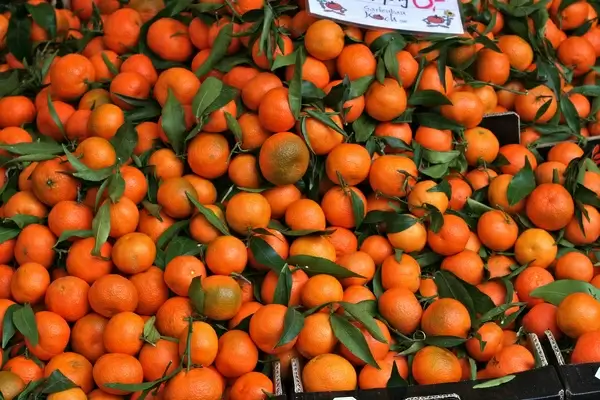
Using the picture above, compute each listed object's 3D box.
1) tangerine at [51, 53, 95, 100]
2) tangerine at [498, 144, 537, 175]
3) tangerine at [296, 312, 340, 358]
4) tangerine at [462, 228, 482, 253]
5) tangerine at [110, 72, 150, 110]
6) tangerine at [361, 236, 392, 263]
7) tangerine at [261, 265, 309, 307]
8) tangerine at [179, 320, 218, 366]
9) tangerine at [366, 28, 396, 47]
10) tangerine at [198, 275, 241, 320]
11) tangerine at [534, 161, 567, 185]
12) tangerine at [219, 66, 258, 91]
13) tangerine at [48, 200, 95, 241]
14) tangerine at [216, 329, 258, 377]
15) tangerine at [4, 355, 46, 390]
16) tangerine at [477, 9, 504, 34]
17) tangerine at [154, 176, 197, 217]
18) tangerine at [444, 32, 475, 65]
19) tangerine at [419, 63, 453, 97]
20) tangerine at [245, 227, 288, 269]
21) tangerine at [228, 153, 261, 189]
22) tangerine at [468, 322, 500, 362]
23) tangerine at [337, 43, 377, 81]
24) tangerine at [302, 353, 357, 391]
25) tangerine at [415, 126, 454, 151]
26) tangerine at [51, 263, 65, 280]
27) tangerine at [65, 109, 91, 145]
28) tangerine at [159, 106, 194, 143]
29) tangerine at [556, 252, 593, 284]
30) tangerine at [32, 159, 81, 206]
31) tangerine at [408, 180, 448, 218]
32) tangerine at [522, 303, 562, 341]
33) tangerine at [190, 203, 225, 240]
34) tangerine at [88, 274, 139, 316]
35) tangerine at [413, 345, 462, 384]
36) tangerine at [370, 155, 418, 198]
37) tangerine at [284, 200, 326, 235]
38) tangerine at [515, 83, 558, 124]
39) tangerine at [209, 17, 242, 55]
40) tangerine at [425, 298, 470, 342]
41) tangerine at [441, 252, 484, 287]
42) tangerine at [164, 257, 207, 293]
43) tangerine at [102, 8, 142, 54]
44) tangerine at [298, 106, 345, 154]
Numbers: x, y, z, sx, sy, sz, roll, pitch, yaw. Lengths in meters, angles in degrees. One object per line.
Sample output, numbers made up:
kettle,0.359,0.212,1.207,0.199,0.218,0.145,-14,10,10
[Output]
tangerine,-1.074,-0.576,2.381,0.156,0.143,0.140,-21,30,22
tangerine,1.028,-0.216,2.418,0.129,0.174,0.142,12,20,1
tangerine,0.060,0.511,1.937,0.141,0.182,0.141,-6,18,-10
tangerine,0.755,0.172,2.213,0.079,0.105,0.084,3,14,19
tangerine,-0.784,-0.505,2.316,0.174,0.126,0.134,-19,55,-19
tangerine,0.330,0.207,2.131,0.118,0.110,0.112,2,50,10
tangerine,-0.068,0.349,2.020,0.155,0.194,0.169,0,72,-6
tangerine,-0.359,0.533,1.937,0.143,0.154,0.195,-11,78,12
tangerine,0.360,-0.739,2.274,0.085,0.094,0.109,7,-2,4
tangerine,-0.304,0.382,1.955,0.150,0.137,0.143,-3,51,-8
tangerine,1.143,-0.128,2.315,0.107,0.114,0.111,-3,20,-5
tangerine,-0.272,-0.549,2.247,0.135,0.124,0.118,-9,16,0
tangerine,-0.934,0.055,2.085,0.158,0.152,0.164,-1,44,-43
tangerine,-0.241,0.560,1.935,0.150,0.166,0.149,-13,22,-12
tangerine,-1.034,0.631,1.888,0.095,0.104,0.099,9,2,3
tangerine,0.979,-0.909,2.589,0.099,0.128,0.107,-6,35,13
tangerine,-0.502,-0.014,2.078,0.152,0.164,0.149,5,14,3
tangerine,0.739,-0.726,2.429,0.108,0.132,0.107,-8,28,-34
tangerine,0.617,-0.546,2.385,0.144,0.182,0.143,-4,4,-34
tangerine,-0.143,0.223,2.138,0.198,0.205,0.203,4,9,-6
tangerine,-0.263,-0.127,2.180,0.112,0.119,0.140,4,70,32
tangerine,0.740,0.556,1.981,0.139,0.142,0.151,0,81,-2
tangerine,0.257,-0.598,2.231,0.152,0.105,0.163,-27,58,-24
tangerine,0.111,0.630,1.821,0.138,0.143,0.140,1,45,-16
tangerine,0.612,-0.275,2.281,0.135,0.123,0.117,7,6,-1
tangerine,-1.009,0.295,2.116,0.054,0.057,0.063,-32,24,-22
tangerine,-0.998,-0.323,2.264,0.108,0.126,0.106,50,36,13
tangerine,-0.518,-0.352,2.239,0.146,0.189,0.154,3,16,-1
tangerine,1.166,0.280,2.148,0.120,0.124,0.131,14,59,41
tangerine,-1.011,-0.056,2.129,0.171,0.203,0.182,-6,84,-16
tangerine,0.539,-0.005,2.171,0.140,0.153,0.160,11,73,-6
tangerine,0.959,0.481,1.994,0.135,0.072,0.135,-3,52,-8
tangerine,-0.417,0.106,2.138,0.141,0.163,0.154,13,10,-16
tangerine,-0.731,0.375,1.957,0.188,0.121,0.130,17,51,8
tangerine,0.504,0.607,1.912,0.137,0.139,0.152,-10,43,52
tangerine,0.392,-0.100,2.154,0.168,0.168,0.174,8,13,-4
tangerine,0.021,0.076,2.087,0.168,0.085,0.146,4,51,-2
tangerine,1.201,-0.472,2.535,0.225,0.147,0.134,-13,53,-15
tangerine,-0.328,-0.730,2.303,0.140,0.176,0.151,8,59,-7
tangerine,0.569,0.460,1.938,0.188,0.096,0.134,11,51,3
tangerine,0.690,0.275,2.109,0.178,0.070,0.128,19,52,9
tangerine,-0.451,0.298,1.982,0.162,0.107,0.131,-20,56,-20
tangerine,-0.878,-0.830,2.501,0.197,0.153,0.167,-12,53,-15
tangerine,0.069,-0.298,2.214,0.177,0.190,0.210,-3,20,-17
